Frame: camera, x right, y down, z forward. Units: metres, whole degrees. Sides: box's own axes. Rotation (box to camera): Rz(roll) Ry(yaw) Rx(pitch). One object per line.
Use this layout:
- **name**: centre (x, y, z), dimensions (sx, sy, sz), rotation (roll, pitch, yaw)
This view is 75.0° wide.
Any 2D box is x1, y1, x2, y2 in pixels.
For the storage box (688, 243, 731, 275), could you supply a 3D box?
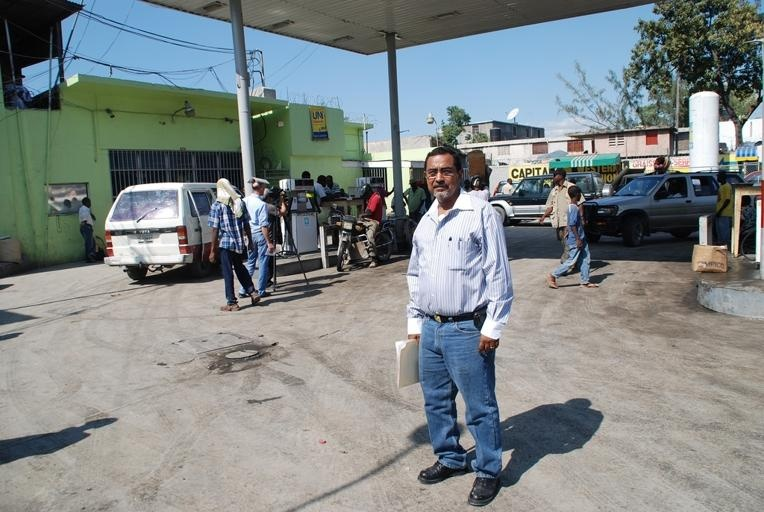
- **storage box**: centre (6.356, 0.055, 9.642), dimensions (0.568, 0.546, 0.579), rotation (2, 1, 30)

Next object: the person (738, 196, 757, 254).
- **person**: centre (8.570, -0.692, 11.673), dimensions (0.310, 1.154, 1.432), rotation (3, 13, 35)

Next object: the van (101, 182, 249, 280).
- **van**: centre (-5.166, -0.846, 13.005), dimensions (2.108, 1.708, 3.327), rotation (-1, 17, 8)

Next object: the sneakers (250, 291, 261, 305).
- **sneakers**: centre (-2.451, 0.811, 9.666), dimensions (0.112, 0.338, 0.238), rotation (4, 46, -29)

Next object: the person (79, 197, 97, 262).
- **person**: centre (-10.141, -0.917, 17.231), dimensions (0.523, 2.181, 0.814), rotation (-9, 12, -29)

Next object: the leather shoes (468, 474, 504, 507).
- **leather shoes**: centre (0.831, 1.947, 4.088), dimensions (0.123, 0.148, 0.350), rotation (-1, -12, 27)

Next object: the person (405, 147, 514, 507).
- **person**: centre (0.620, 0.565, 4.118), dimensions (0.863, 2.892, 0.610), rotation (-1, 11, 17)

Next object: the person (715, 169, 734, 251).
- **person**: centre (8.755, -1.048, 12.741), dimensions (0.347, 1.611, 0.660), rotation (3, 12, 33)

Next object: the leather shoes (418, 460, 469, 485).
- **leather shoes**: centre (0.541, 1.883, 4.405), dimensions (0.462, 0.204, 0.173), rotation (1, -1, -13)

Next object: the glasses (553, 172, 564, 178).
- **glasses**: centre (3.870, -1.791, 10.931), dimensions (0.151, 0.163, 0.048), rotation (1, 5, -6)
